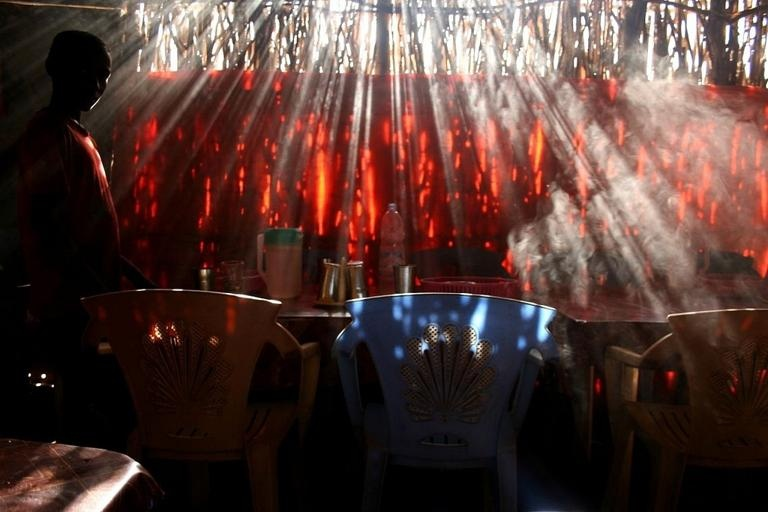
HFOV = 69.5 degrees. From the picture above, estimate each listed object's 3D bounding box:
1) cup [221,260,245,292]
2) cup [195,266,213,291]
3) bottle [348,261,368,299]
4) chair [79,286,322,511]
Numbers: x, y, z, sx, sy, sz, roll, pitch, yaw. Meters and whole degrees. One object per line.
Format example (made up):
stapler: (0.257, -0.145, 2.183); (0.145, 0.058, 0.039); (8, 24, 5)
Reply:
cup: (-0.809, 0.116, 3.076); (0.130, 0.170, 0.143); (0, -1, 7)
cup: (-0.946, 0.122, 2.921); (0.094, 0.168, 0.094); (1, 1, 0)
bottle: (-0.146, 0.128, 2.886); (0.137, 0.225, 0.146); (-1, -4, 0)
chair: (-0.717, 0.522, 2.848); (0.884, 1.355, 0.991); (1, 11, 4)
